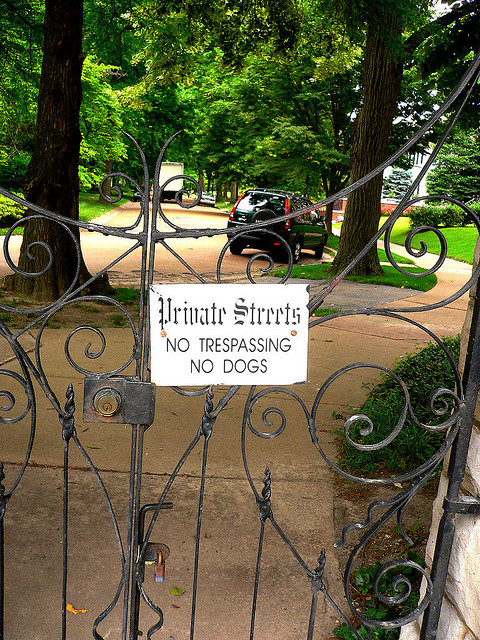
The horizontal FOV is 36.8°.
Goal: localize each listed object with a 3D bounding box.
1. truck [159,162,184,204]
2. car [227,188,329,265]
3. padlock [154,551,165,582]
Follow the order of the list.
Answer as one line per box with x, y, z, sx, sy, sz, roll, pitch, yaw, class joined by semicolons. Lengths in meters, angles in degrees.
-4.170;-8.478;41.838;1.872;2.178;3.654;7;20;-6;truck
0.661;-2.113;15.361;1.711;1.512;3.469;3;11;23;car
-0.255;0.776;2.260;0.027;0.138;0.059;4;19;-6;padlock
